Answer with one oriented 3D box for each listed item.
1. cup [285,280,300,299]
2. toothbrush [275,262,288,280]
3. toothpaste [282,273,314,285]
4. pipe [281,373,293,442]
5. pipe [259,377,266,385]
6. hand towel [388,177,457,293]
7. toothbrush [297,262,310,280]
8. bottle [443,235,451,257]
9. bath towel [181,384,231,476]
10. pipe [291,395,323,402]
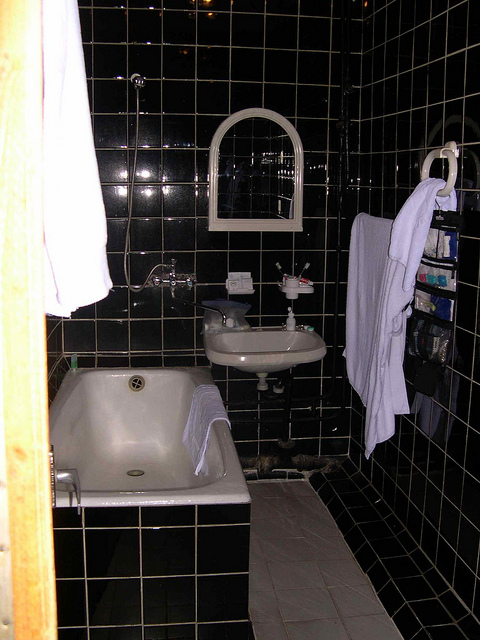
[{"bbox_3d":[0.277,-0.160,3.005,0.069,0.105,0.071,0,7,0],"label":"cup"},{"bbox_3d":[0.231,-0.282,3.139,0.027,0.149,0.013,-30,14,4],"label":"toothbrush"},{"bbox_3d":[0.315,-0.211,3.066,0.162,0.067,0.163,-4,9,6],"label":"toothpaste"},{"bbox_3d":[0.259,0.489,3.126,0.075,0.390,0.172,-2,8,4],"label":"pipe"},{"bbox_3d":[0.115,0.318,2.906,0.029,0.044,0.031,2,7,10],"label":"pipe"},{"bbox_3d":[0.621,-0.267,2.068,0.088,0.383,0.122,24,-21,-16],"label":"hand towel"},{"bbox_3d":[0.348,-0.271,3.118,0.018,0.114,0.007,29,15,35],"label":"toothbrush"},{"bbox_3d":[0.735,-0.260,2.004,0.006,0.075,0.043,-4,8,-9],"label":"bottle"},{"bbox_3d":[-0.178,0.508,2.552,0.134,0.338,0.315,1,12,-7],"label":"bath towel"},{"bbox_3d":[0.383,0.453,3.205,0.137,0.035,0.016,4,5,-6],"label":"pipe"}]
